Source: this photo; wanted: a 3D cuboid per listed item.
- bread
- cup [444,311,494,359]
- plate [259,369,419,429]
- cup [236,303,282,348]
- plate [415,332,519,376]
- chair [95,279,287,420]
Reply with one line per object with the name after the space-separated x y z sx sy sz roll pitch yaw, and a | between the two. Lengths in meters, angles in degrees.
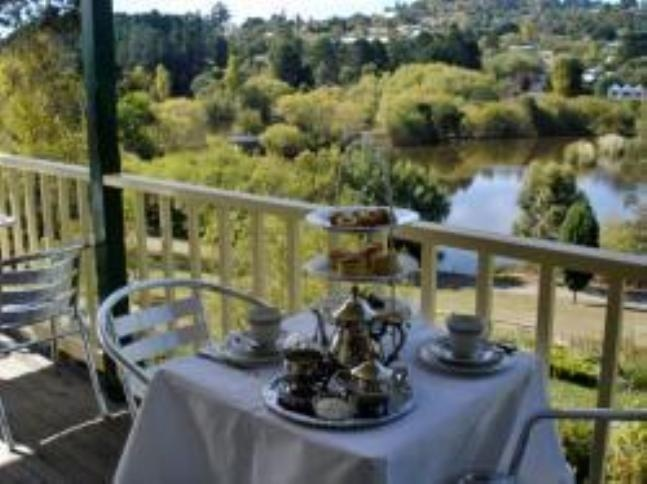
0.176 0.007 4.537 0.275 0.227 0.311 -1 10 -3 | bread
0.645 0.405 4.203 0.169 0.178 0.159 2 13 -1 | cup
0.044 0.697 4.055 0.618 0.190 0.487 -7 12 -38 | plate
-0.271 0.379 4.284 0.145 0.202 0.165 0 5 -3 | cup
0.624 0.482 4.243 0.427 0.196 0.324 -7 13 -36 | plate
-0.656 0.467 4.546 0.783 1.027 0.739 -11 16 -44 | chair
